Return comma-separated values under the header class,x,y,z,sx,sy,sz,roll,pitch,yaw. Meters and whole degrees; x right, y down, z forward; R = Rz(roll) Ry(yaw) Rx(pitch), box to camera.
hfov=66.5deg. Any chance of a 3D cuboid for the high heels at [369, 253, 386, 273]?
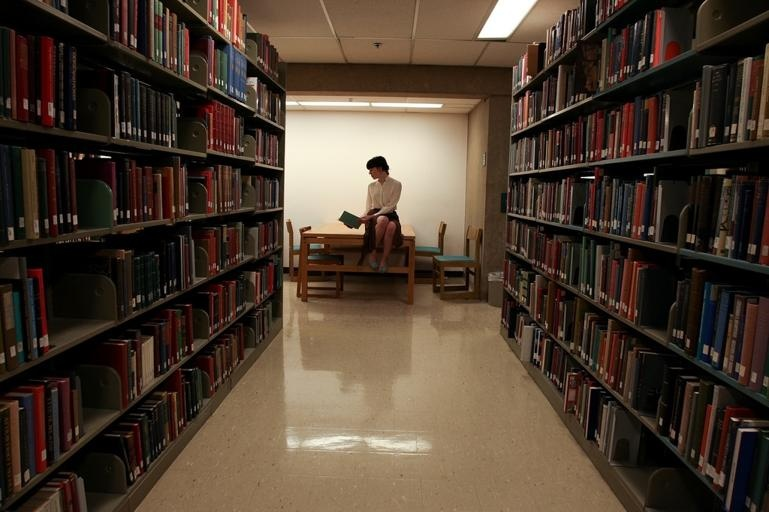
class,x,y,z,sx,sy,sz,roll,pitch,yaw
high heels,-0.097,0.108,7.362,0.122,0.186,0.434,1,-7,-5
